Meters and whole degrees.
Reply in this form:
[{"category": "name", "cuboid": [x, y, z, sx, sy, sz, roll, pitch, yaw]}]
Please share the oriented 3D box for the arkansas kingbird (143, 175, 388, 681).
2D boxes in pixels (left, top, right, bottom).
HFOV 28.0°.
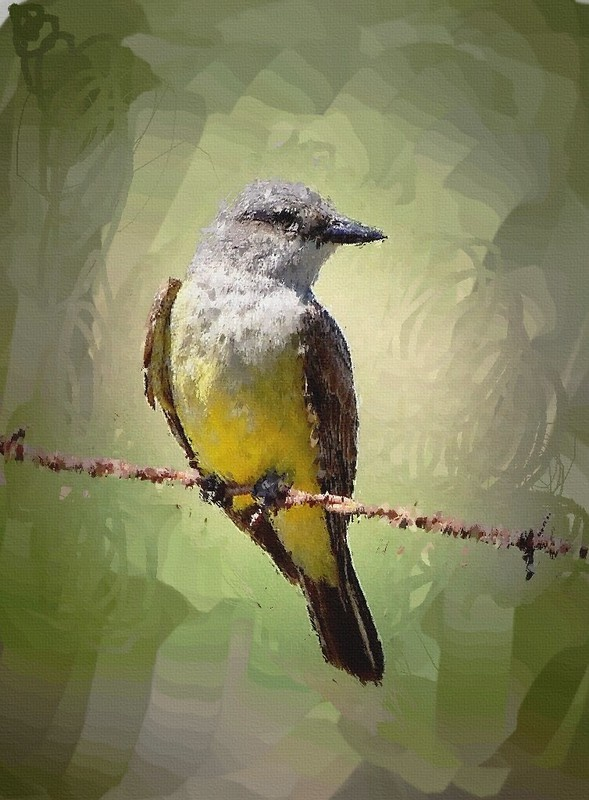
[{"category": "arkansas kingbird", "cuboid": [0.064, 0.094, 2.338, 0.386, 0.925, 0.475, -2, 38, 14]}]
